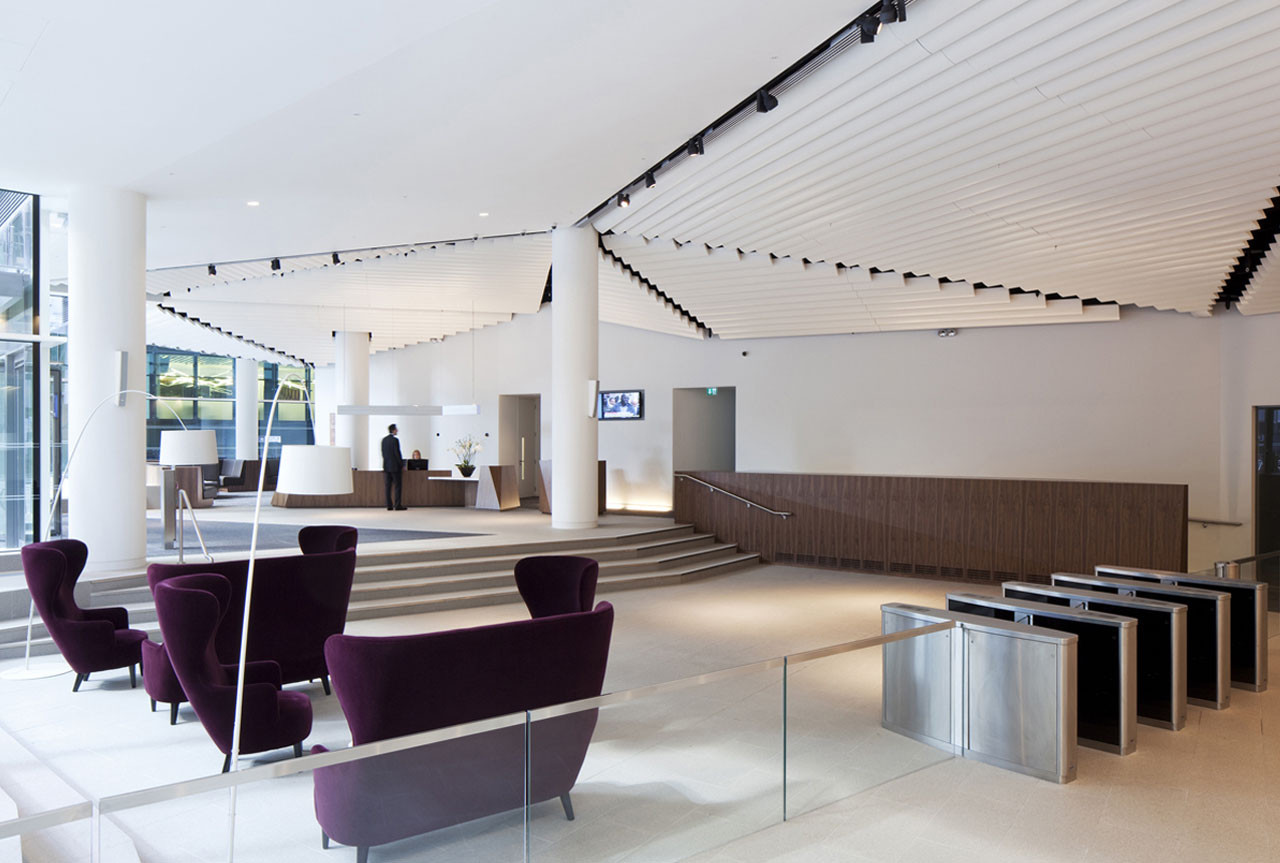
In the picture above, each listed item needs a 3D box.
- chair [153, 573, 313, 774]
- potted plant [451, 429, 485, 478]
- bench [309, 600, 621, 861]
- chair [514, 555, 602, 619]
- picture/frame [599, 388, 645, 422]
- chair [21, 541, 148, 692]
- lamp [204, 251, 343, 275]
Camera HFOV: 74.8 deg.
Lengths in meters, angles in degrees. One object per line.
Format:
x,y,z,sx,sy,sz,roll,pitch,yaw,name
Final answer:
-3.076,1.838,6.523,1.396,1.537,1.413,-1,0,-22,chair
-4.196,0.521,19.959,0.842,1.076,0.974,0,-7,2,potted plant
-0.991,1.747,4.884,1.712,1.121,0.847,0,0,-22,bench
-0.743,1.352,7.373,0.661,0.647,0.586,-2,-14,-3,chair
-0.438,-0.575,18.450,1.149,0.703,0.302,0,1,43,picture/frame
-5.030,1.659,7.601,1.003,1.261,0.575,0,0,15,chair
-6.169,-2.831,14.028,2.346,0.231,0.867,0,0,0,lamp
